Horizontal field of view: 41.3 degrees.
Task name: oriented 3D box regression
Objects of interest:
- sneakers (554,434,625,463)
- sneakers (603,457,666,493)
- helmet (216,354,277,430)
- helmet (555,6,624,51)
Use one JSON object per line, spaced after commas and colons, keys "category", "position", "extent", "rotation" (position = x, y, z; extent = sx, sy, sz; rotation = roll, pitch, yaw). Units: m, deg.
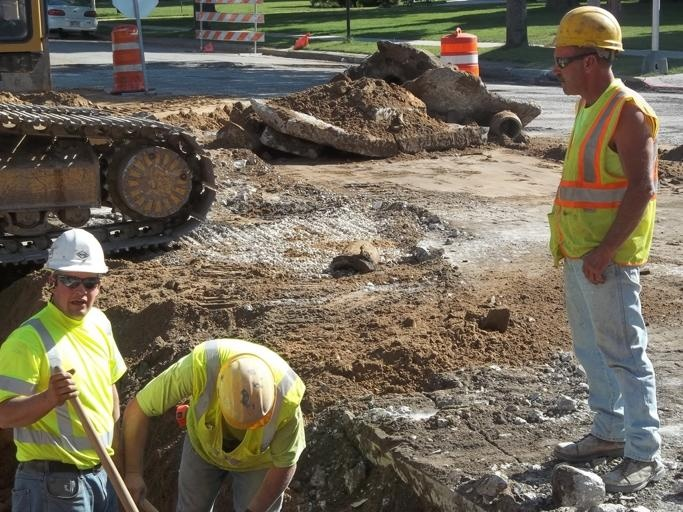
{"category": "sneakers", "position": [1.563, 1.242, 5.831], "extent": [0.432, 0.140, 0.164], "rotation": [1, 9, 6]}
{"category": "sneakers", "position": [1.784, 1.355, 5.602], "extent": [0.415, 0.222, 0.100], "rotation": [-1, 13, -17]}
{"category": "helmet", "position": [-0.565, 0.831, 5.337], "extent": [0.338, 0.483, 0.237], "rotation": [1, 13, -7]}
{"category": "helmet", "position": [1.604, -1.417, 5.699], "extent": [0.430, 0.186, 0.289], "rotation": [11, 12, -7]}
